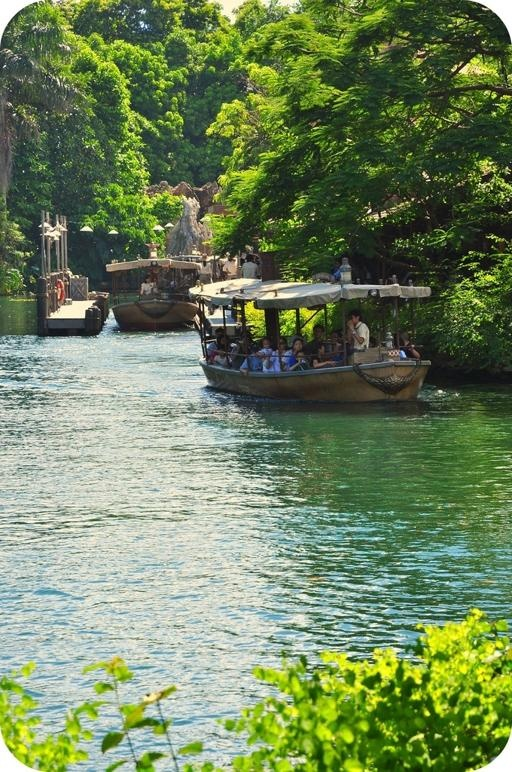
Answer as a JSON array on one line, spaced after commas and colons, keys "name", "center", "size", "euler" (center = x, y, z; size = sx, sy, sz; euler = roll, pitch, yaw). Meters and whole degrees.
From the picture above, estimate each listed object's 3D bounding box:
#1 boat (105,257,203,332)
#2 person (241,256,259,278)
[{"name": "boat", "center": [-4.237, -4.124, 52.613], "size": [3.982, 3.415, 8.877], "euler": [-2, 2, -5]}, {"name": "person", "center": [-0.158, -3.147, 32.881], "size": [0.409, 0.587, 0.850], "euler": [-3, 4, 1]}]
